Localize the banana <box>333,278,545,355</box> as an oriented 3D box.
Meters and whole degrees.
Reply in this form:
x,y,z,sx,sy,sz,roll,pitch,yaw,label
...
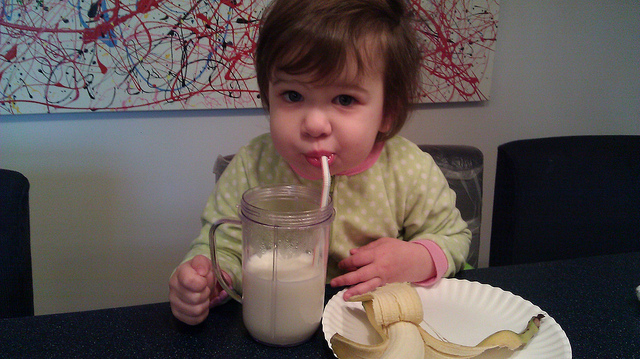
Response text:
x,y,z,sx,sy,sz,roll,pitch,yaw,label
0.316,0.363,1.146,0.567,0.151,0.123,-1,12,0,banana
